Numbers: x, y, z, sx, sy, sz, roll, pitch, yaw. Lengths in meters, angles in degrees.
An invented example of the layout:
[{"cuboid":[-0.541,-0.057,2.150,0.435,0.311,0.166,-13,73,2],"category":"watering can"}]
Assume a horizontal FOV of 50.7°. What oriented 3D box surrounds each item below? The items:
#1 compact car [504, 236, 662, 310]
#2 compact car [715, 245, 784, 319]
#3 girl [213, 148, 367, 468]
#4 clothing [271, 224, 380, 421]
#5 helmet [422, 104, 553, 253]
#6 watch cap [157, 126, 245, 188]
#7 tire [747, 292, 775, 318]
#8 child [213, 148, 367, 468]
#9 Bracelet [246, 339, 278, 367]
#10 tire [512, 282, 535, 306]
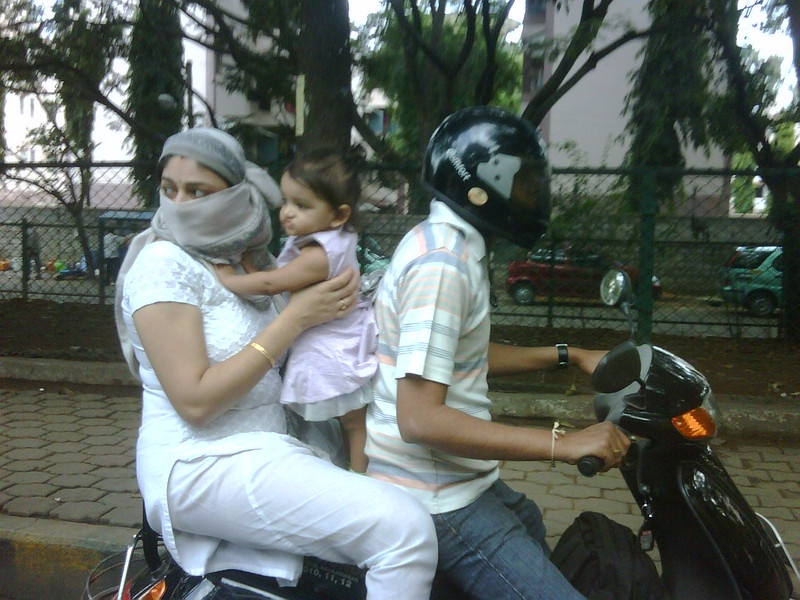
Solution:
[{"cuboid":[1.823,-0.240,8.445,1.328,0.521,0.741,0,3,11],"category":"compact car"},{"cuboid":[4.119,-0.231,9.710,1.089,0.624,0.645,-8,11,-4],"category":"compact car"},{"cuboid":[-0.427,0.124,3.758,0.694,1.447,0.498,-2,8,-17],"category":"girl"},{"cuboid":[-0.271,0.119,3.557,0.570,0.759,0.280,3,-6,-9],"category":"clothing"},{"cuboid":[0.426,-0.492,3.540,0.548,0.465,0.439,22,12,-4],"category":"helmet"},{"cuboid":[-0.815,-0.619,3.530,0.270,0.175,0.269,-4,22,-42],"category":"watch cap"},{"cuboid":[4.376,0.053,10.171,0.272,0.288,0.107,-4,12,16],"category":"tire"},{"cuboid":[-0.429,0.121,3.760,0.721,1.456,0.499,-1,7,-13],"category":"child"},{"cuboid":[-0.547,0.218,3.407,0.039,0.100,0.085,-43,10,-17],"category":"Bracelet"},{"cuboid":[1.306,-0.068,8.879,0.170,0.172,0.064,36,-4,-35],"category":"tire"}]
